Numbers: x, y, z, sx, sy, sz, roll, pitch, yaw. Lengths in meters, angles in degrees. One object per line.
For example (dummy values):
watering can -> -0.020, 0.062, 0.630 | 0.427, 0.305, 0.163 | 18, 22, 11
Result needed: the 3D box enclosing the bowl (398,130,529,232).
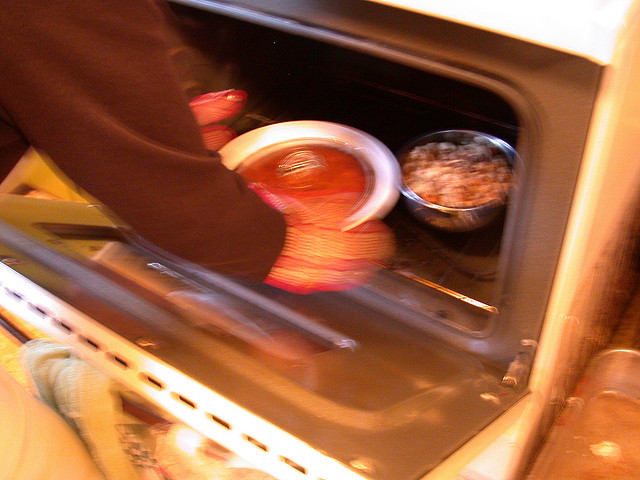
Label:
bowl -> 0.183, -0.093, 0.713 | 0.202, 0.121, 0.067 | -18, 8, -14
